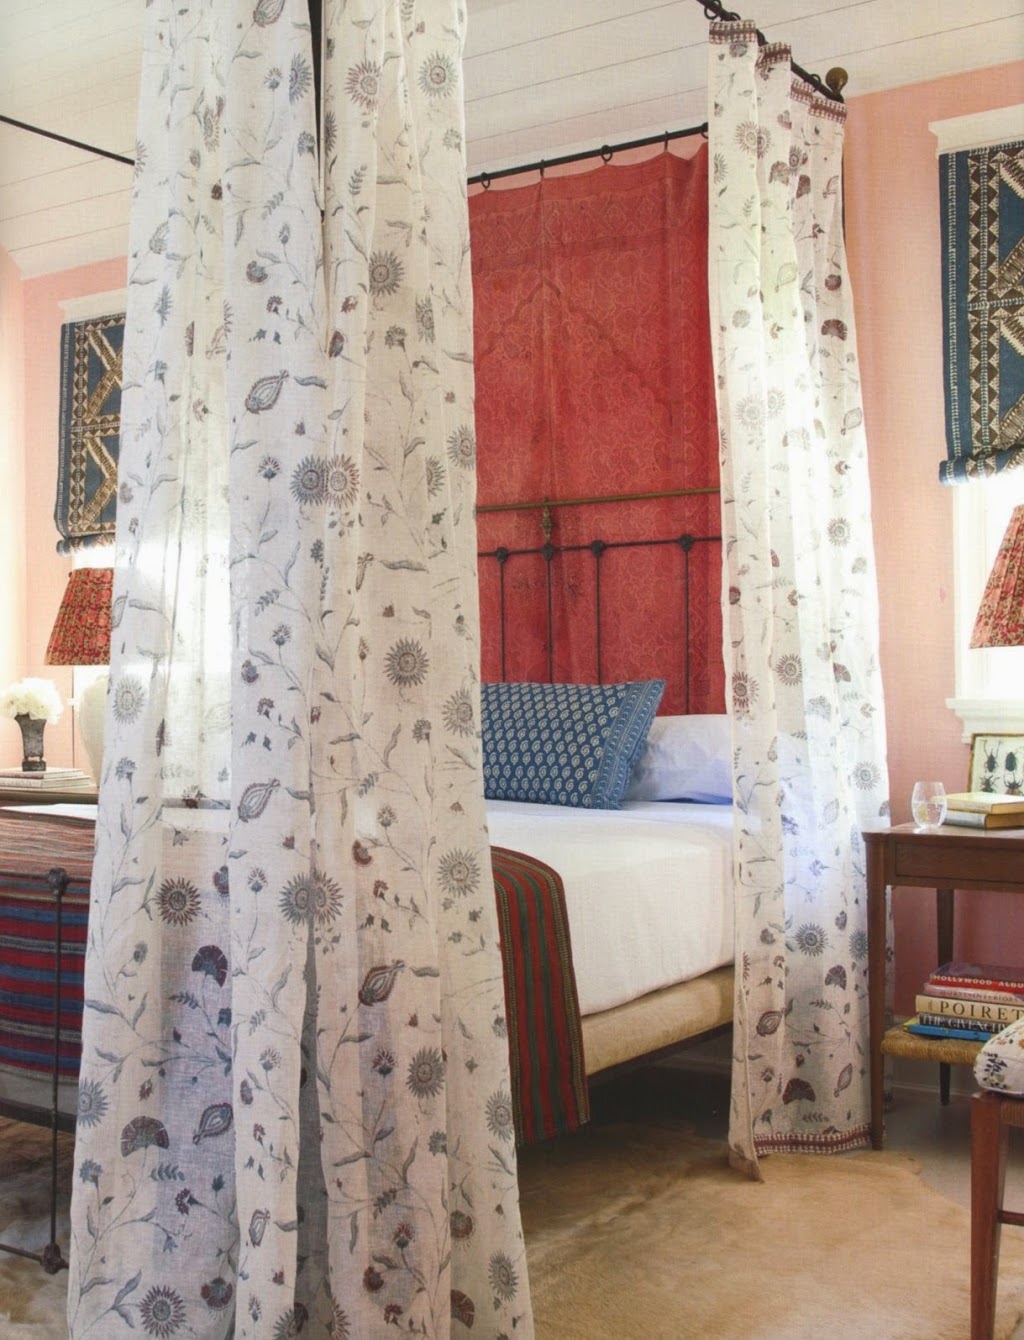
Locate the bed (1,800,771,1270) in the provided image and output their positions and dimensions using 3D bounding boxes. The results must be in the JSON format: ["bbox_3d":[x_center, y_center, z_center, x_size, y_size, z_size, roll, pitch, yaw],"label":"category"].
[{"bbox_3d":[-0.211,0.544,2.341,0.718,0.688,1.026,-2,-3,31],"label":"bed"}]

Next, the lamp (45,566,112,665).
[{"bbox_3d":[-1.280,-0.163,4.024,0.254,0.287,0.138,-1,-3,19],"label":"lamp"}]

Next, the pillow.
[{"bbox_3d":[0.217,0.185,3.362,0.668,0.311,0.333,-1,-3,13],"label":"pillow"}]
